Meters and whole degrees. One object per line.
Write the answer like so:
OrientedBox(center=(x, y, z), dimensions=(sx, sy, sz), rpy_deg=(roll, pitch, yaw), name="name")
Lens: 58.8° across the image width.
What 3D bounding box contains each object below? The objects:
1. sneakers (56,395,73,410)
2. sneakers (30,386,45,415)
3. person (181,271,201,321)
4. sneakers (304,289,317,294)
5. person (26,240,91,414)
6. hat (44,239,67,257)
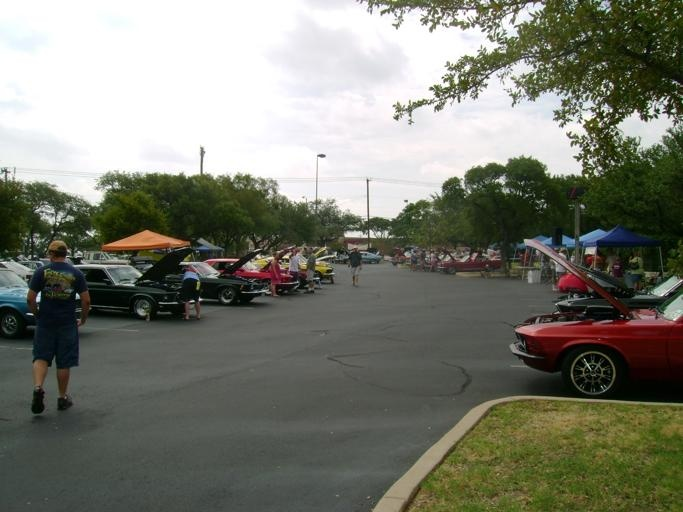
OrientedBox(center=(-3.830, 2.031, 8.432), dimensions=(0.110, 0.110, 0.254), rpy_deg=(3, 9, 15), name="sneakers")
OrientedBox(center=(-4.043, 1.925, 8.112), dimensions=(0.171, 0.410, 0.183), rpy_deg=(3, 5, -18), name="sneakers")
OrientedBox(center=(-4.195, 1.044, 16.863), dimensions=(0.485, 1.393, 0.968), rpy_deg=(-2, 6, -13), name="person")
OrientedBox(center=(-1.398, 1.502, 26.071), dimensions=(0.170, 0.196, 0.488), rpy_deg=(-1, -9, 13), name="sneakers")
OrientedBox(center=(-4.040, 0.922, 8.664), dimensions=(0.812, 2.290, 1.336), rpy_deg=(-4, 7, -26), name="person")
OrientedBox(center=(-4.108, -0.122, 8.750), dimensions=(0.256, 0.175, 0.340), rpy_deg=(0, 17, -40), name="hat")
